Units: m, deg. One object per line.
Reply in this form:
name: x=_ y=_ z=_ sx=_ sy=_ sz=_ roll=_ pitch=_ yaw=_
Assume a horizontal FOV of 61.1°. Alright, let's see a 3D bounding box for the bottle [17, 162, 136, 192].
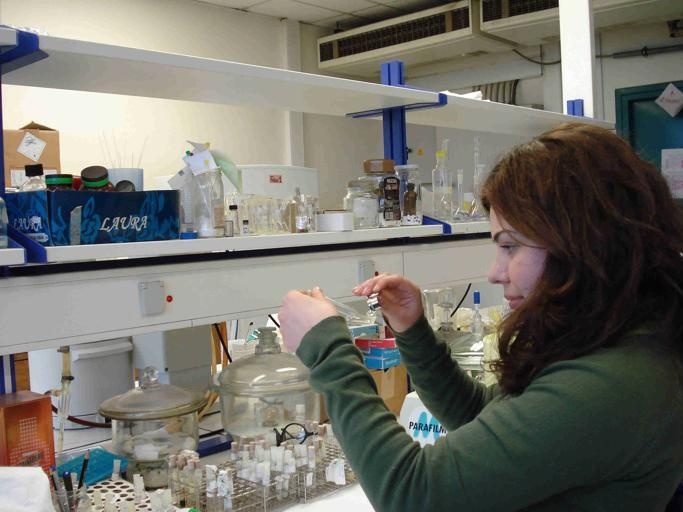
bottle: x=-0.695 y=-0.196 z=1.553 sx=0.248 sy=0.091 sz=0.140 roll=-1 pitch=5 yaw=-7
